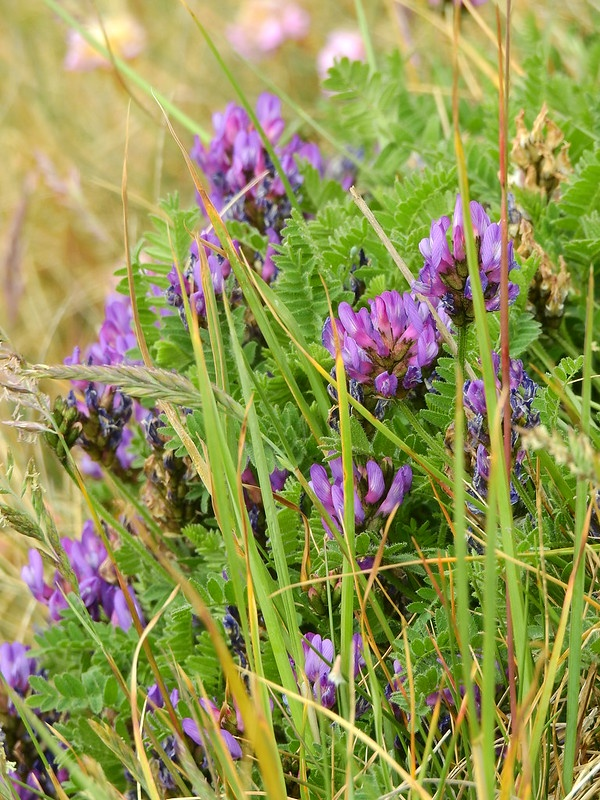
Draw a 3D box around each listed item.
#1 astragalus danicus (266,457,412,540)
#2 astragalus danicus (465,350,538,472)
[{"bbox_3d":[0.078,0.125,1.142,0.109,0.097,0.083,-13,77,31],"label":"astragalus danicus"},{"bbox_3d":[0.251,0.007,1.091,0.072,0.129,0.146,4,90,-13],"label":"astragalus danicus"}]
